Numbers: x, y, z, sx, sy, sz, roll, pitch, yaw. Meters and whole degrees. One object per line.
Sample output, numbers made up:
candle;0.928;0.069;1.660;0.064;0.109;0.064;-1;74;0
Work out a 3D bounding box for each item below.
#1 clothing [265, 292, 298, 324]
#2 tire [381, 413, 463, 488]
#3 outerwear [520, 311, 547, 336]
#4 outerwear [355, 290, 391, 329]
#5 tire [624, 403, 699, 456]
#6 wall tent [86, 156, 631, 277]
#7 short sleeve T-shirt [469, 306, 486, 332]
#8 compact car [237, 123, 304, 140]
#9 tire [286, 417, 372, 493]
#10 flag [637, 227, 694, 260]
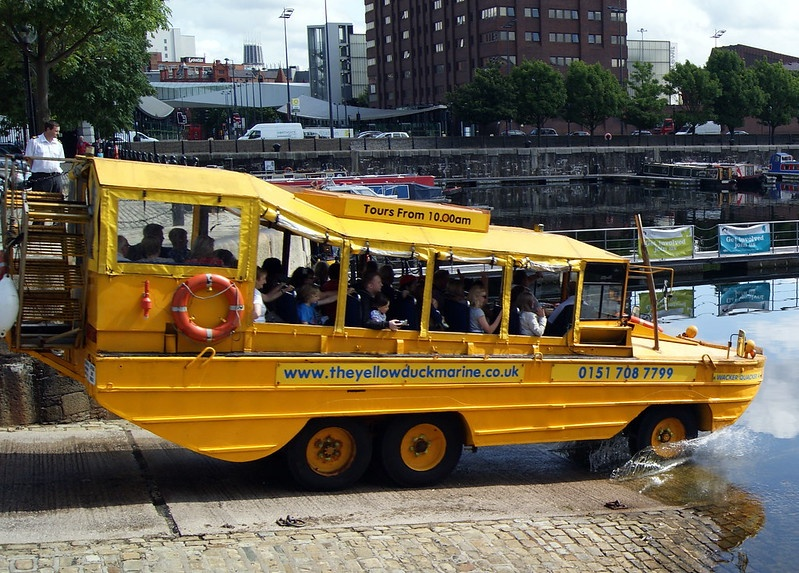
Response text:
clothing;-1.662;0.314;15.482;0.497;0.485;0.363;1;-4;2
tire;0.274;2.388;15.873;1.174;1.080;0.354;6;-6;-23
outerwear;2.087;0.570;16.592;0.381;0.376;0.402;-13;17;-26
outerwear;-0.388;0.347;15.905;0.497;0.514;0.601;0;1;5
tire;4.300;2.403;17.250;0.924;0.891;0.330;12;-6;42
wall tent;0.025;-0.935;16.236;9.967;1.329;2.145;1;19;-19
short sleeve T-shirt;1.168;0.507;16.290;0.369;0.324;0.199;2;14;15
compact car;-9.159;-11.252;78.256;3.674;1.301;3.038;9;14;20
tire;-1.063;2.394;15.456;0.893;0.855;0.277;33;-9;-18
flag;8.551;-1.383;34.610;2.032;1.141;0.170;-3;8;-16
